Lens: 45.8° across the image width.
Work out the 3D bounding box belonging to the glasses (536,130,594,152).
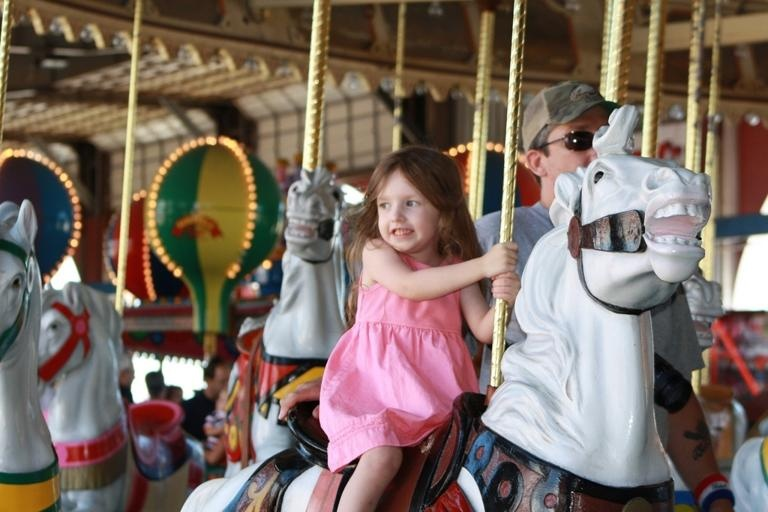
[{"bbox_3d":[0.910,-0.555,4.446,0.163,0.053,0.125,-6,2,45],"label":"glasses"}]

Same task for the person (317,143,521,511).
[{"bbox_3d":[0.114,0.261,3.864,0.828,1.446,0.547,-4,4,-7],"label":"person"}]
